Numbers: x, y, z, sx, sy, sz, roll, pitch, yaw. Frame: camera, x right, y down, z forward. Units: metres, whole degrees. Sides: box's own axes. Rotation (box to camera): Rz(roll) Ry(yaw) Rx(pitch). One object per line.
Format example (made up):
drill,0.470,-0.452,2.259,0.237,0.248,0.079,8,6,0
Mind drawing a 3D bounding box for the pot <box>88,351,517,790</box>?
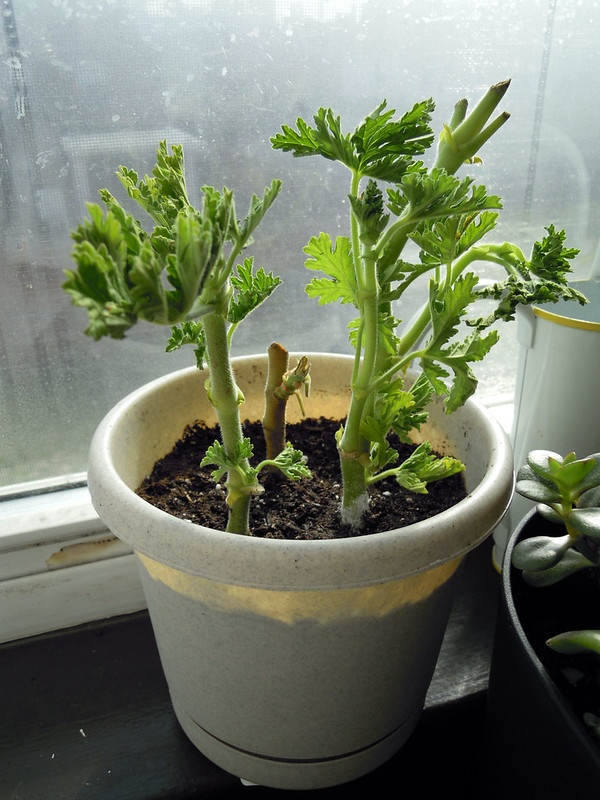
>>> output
pot,0.003,0.218,0.759,0.394,0.263,0.375,1,8,0
